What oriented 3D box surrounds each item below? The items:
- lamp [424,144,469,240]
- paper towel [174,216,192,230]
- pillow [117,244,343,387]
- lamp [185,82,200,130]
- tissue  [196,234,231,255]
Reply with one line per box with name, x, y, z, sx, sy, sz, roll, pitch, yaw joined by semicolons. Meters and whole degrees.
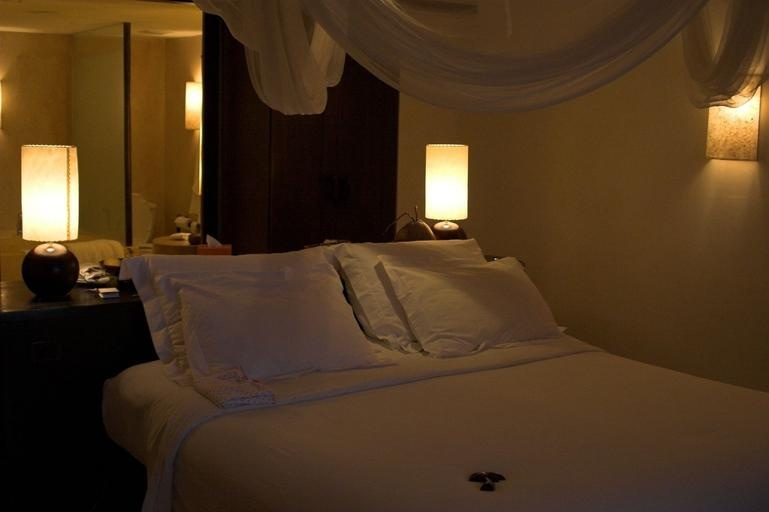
lamp;0.377;-0.392;3.736;0.255;0.545;0.296;1;14;6
paper towel;-1.096;-0.180;3.330;0.049;0.067;0.084;3;3;5
pillow;-0.940;0.307;2.799;0.576;0.608;0.143;-2;-22;-32
lamp;-1.026;-0.805;3.295;0.110;0.242;0.026;-12;18;-40
tissue ;-0.858;-0.036;3.090;0.150;0.101;0.115;0;6;-9
